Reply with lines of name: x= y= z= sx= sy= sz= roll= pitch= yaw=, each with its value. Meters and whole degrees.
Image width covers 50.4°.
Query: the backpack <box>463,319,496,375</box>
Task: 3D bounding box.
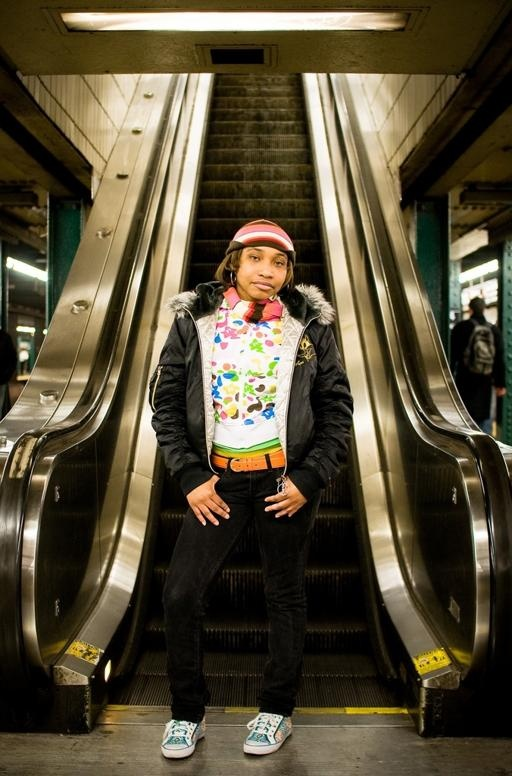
backpack: x=2.229 y=-0.379 z=5.338 sx=0.298 sy=0.517 sz=0.168 roll=-1 pitch=-8 yaw=12

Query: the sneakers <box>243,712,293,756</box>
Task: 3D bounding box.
sneakers: x=0.022 y=0.808 z=1.287 sx=0.060 sy=0.061 sz=0.134 roll=-2 pitch=-16 yaw=18

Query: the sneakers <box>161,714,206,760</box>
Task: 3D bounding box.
sneakers: x=-0.171 y=0.811 z=1.265 sx=0.048 sy=0.063 sz=0.143 roll=2 pitch=-20 yaw=7

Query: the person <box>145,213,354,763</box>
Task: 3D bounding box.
person: x=-0.008 y=0.230 z=1.315 sx=0.502 sy=1.269 sz=0.274 roll=3 pitch=-8 yaw=-14
